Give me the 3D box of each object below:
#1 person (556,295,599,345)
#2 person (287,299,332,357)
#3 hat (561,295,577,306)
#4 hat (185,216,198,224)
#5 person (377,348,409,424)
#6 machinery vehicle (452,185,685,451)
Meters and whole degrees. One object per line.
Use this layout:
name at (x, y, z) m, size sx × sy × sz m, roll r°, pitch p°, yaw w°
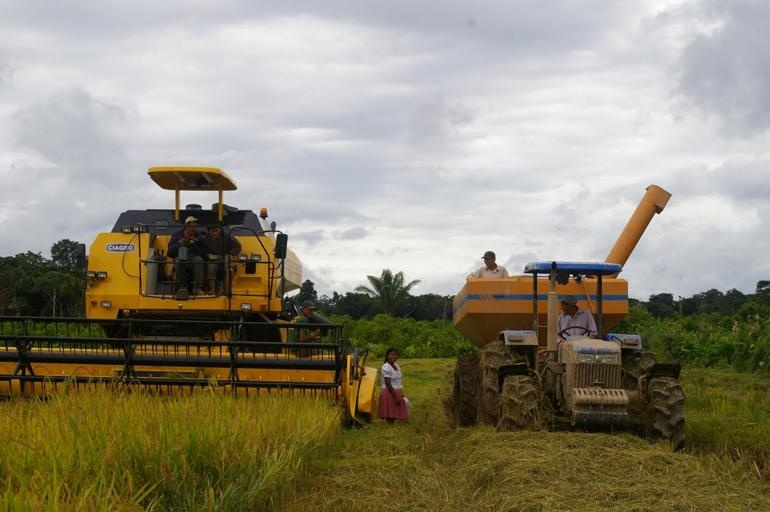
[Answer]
person at (2.839, 1.074, 10.161) m, size 0.628 × 0.908 × 0.458 m, roll -3°, pitch -6°, yaw 26°
person at (-1.418, 1.333, 12.245) m, size 0.614 × 1.100 × 0.599 m, roll 5°, pitch 19°, yaw -8°
hat at (2.745, 0.650, 10.073) m, size 0.162 × 0.083 × 0.159 m, roll -9°, pitch -1°, yaw 7°
hat at (-3.638, -0.682, 12.780) m, size 0.227 × 0.130 × 0.162 m, roll -14°, pitch -1°, yaw 14°
person at (0.178, 2.254, 11.992) m, size 0.535 × 1.241 × 0.556 m, roll 3°, pitch -5°, yaw 2°
machinery vehicle at (3.262, 1.736, 11.802) m, size 2.743 × 3.572 × 5.620 m, roll 2°, pitch -16°, yaw 4°
